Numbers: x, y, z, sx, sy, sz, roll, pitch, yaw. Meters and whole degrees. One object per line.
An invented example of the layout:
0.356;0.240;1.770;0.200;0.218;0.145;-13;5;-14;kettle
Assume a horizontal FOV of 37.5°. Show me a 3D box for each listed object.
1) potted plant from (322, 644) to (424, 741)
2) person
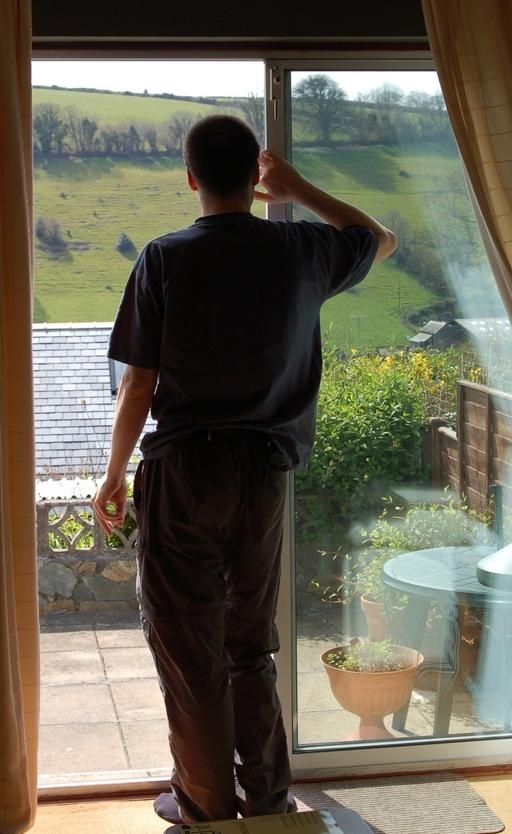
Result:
0.344;0.810;2.371;0.305;0.256;0.281;0;-6;-11;potted plant
-0.051;0.241;1.718;0.589;1.391;0.295;-3;10;-20;person
